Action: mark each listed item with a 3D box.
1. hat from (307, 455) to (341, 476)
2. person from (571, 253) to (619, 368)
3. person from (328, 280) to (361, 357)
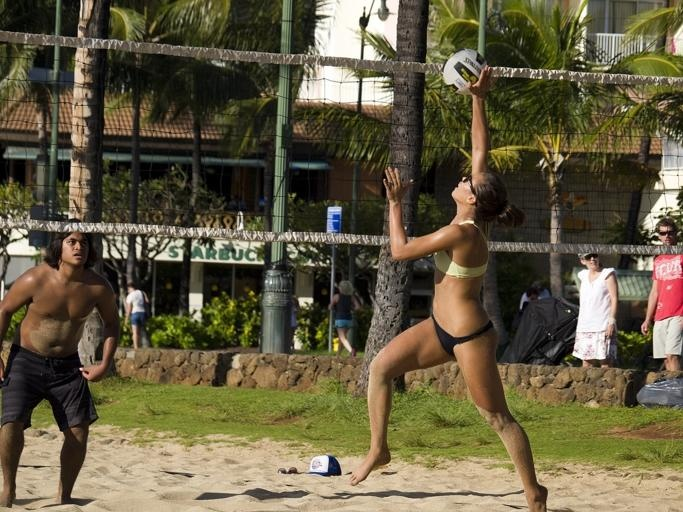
[{"bbox_3d":[-0.237,3.145,22.819,0.382,0.249,0.270,9,-9,-40],"label":"hat"},{"bbox_3d":[4.471,1.047,26.853,0.606,2.123,0.615,1,1,-1],"label":"person"},{"bbox_3d":[0.087,1.414,33.209,0.491,1.748,1.087,3,2,-20],"label":"person"}]
